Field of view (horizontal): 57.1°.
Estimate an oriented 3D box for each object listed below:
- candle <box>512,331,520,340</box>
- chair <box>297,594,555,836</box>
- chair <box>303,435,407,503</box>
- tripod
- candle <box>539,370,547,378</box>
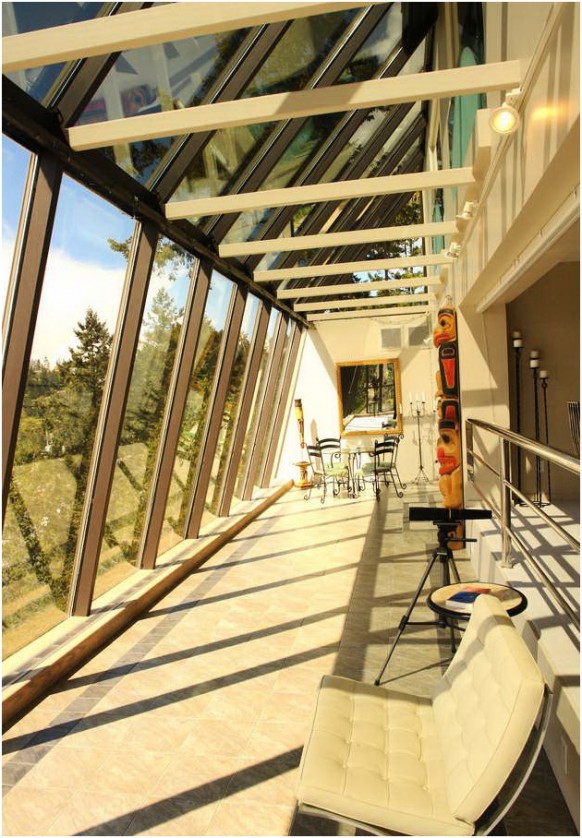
[{"bbox_3d":[2.739,-1.016,6.519,0.078,0.077,0.080,2,2,-13],"label":"candle"},{"bbox_3d":[0.553,1.203,2.185,0.483,0.675,0.683,13,15,0],"label":"chair"},{"bbox_3d":[1.298,1.096,10.510,1.261,0.787,1.317,1,6,31],"label":"chair"},{"bbox_3d":[0.962,1.427,4.131,0.737,1.222,0.727,5,5,2],"label":"tripod"},{"bbox_3d":[2.950,-0.521,6.231,0.084,0.084,0.084,-2,1,-17],"label":"candle"}]
